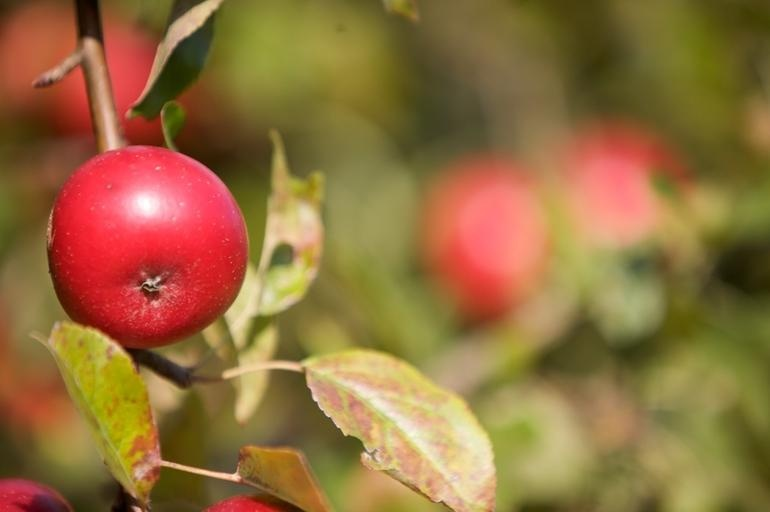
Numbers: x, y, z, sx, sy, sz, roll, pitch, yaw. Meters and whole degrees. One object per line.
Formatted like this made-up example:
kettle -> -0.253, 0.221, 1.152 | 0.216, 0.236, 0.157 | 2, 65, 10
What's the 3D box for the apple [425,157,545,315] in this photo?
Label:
apple -> 0.156, -0.026, 1.500 | 0.178, 0.136, 0.258 | -8, 88, -8
